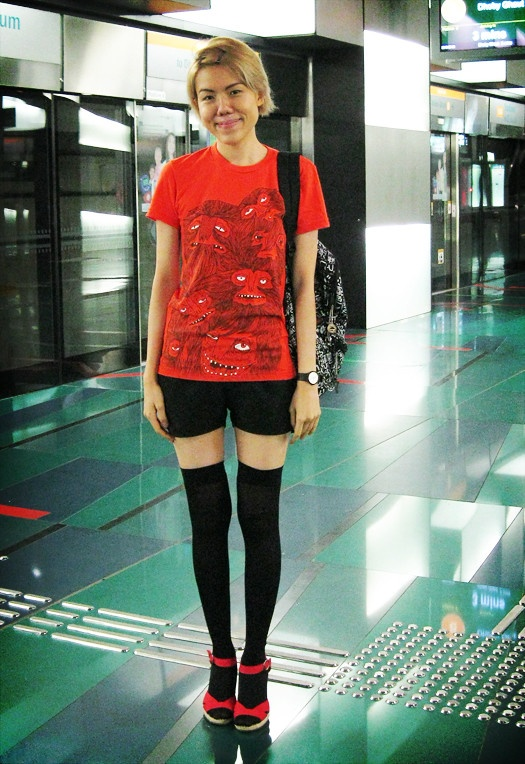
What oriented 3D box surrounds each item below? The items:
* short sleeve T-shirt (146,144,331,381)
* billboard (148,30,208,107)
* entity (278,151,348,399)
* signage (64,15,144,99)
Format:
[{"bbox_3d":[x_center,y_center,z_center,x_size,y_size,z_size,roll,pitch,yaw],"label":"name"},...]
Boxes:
[{"bbox_3d":[-0.103,-0.264,1.431,0.334,0.528,0.178,-2,4,3],"label":"short sleeve T-shirt"},{"bbox_3d":[-0.909,-3.690,7.549,0.063,0.819,1.249,33,37,33],"label":"billboard"},{"bbox_3d":[0.172,-0.292,1.601,0.177,0.443,0.115,6,-12,10],"label":"entity"},{"bbox_3d":[-1.684,-3.424,6.593,0.045,0.601,1.064,12,19,35],"label":"signage"}]
